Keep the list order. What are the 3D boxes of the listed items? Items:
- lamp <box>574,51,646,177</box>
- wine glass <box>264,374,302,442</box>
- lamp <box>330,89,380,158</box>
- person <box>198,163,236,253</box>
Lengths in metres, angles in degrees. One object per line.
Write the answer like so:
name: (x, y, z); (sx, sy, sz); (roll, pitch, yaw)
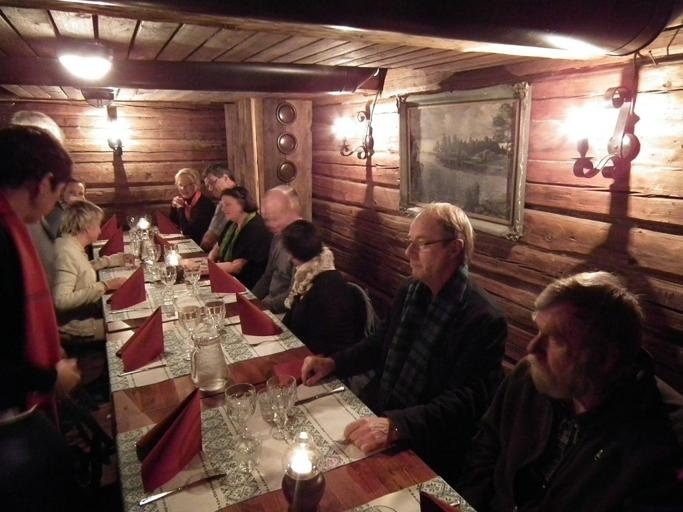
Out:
lamp: (1.482, -0.749, 2.553); (0.327, 0.660, 0.235); (10, 21, 35)
wine glass: (-0.254, 0.632, 1.956); (0.116, 0.196, 0.194); (-3, 16, -3)
lamp: (0.226, -1.287, 4.708); (0.181, 0.613, 0.737); (-8, 17, -19)
person: (-1.451, -0.518, 5.479); (0.615, 1.098, 0.574); (-2, 26, -13)
